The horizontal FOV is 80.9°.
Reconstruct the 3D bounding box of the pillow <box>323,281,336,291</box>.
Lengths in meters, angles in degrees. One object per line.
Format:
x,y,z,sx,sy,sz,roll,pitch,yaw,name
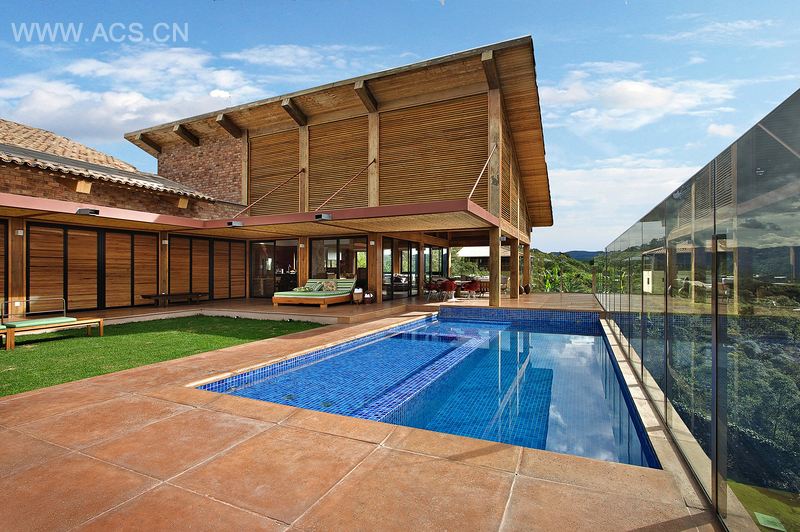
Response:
-2.459,0.710,16.396,0.115,0.327,0.411,-27,-5,32,pillow

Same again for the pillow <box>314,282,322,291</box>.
-2.822,0.740,16.411,0.273,0.075,0.296,16,34,31,pillow

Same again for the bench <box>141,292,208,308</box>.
-7.974,1.195,16.506,1.109,0.441,1.985,-3,-4,25,bench
